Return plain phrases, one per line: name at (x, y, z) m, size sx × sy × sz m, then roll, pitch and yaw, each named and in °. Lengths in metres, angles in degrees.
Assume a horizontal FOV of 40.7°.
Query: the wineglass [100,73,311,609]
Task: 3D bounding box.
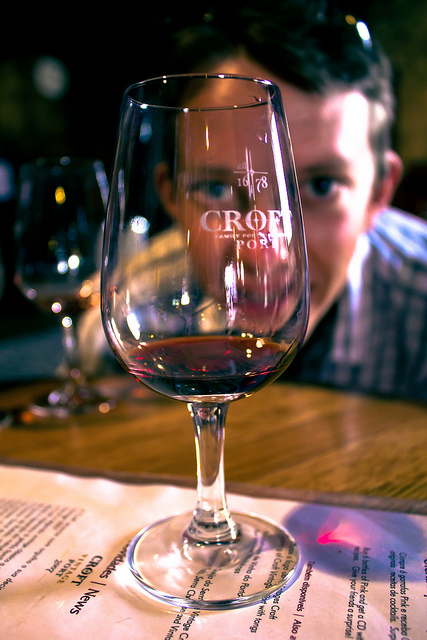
wineglass at (-0.013, 0.001, 0.271) m, size 0.096 × 0.236 × 0.099 m, roll 0°, pitch 10°, yaw 28°
